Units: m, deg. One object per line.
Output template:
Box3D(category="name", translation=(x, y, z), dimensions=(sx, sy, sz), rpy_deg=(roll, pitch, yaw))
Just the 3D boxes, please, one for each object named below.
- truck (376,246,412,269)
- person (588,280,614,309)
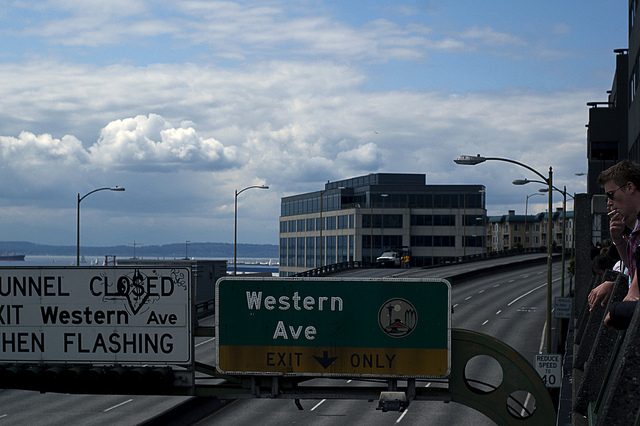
Box3D(category="truck", translation=(8.613, 5.253, 114.034), dimensions=(2.612, 2.692, 6.997), rpy_deg=(-2, -6, 14))
Box3D(category="person", translation=(8.315, 2.373, 28.924), dimensions=(0.647, 0.785, 1.117), rpy_deg=(-2, 2, 8))
